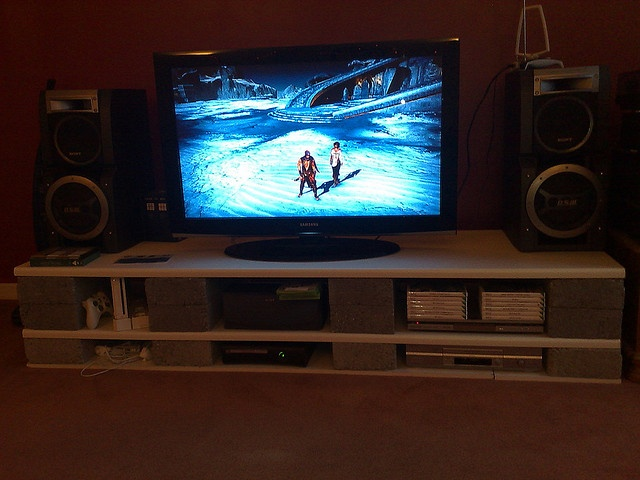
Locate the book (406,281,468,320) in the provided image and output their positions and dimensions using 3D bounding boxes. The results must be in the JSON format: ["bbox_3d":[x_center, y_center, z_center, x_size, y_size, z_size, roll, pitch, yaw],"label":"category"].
[{"bbox_3d":[0.551,0.280,2.567,0.234,0.075,0.170,0,23,0],"label":"book"}]

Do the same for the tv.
[{"bbox_3d":[-0.053,-0.453,2.745,1.590,0.993,0.381,1,10,16],"label":"tv"}]

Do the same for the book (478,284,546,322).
[{"bbox_3d":[0.877,0.296,2.503,0.181,0.065,0.214,0,8,8],"label":"book"}]

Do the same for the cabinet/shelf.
[{"bbox_3d":[-0.044,0.285,2.682,2.783,0.783,0.433,-2,-18,6],"label":"cabinet/shelf"}]
